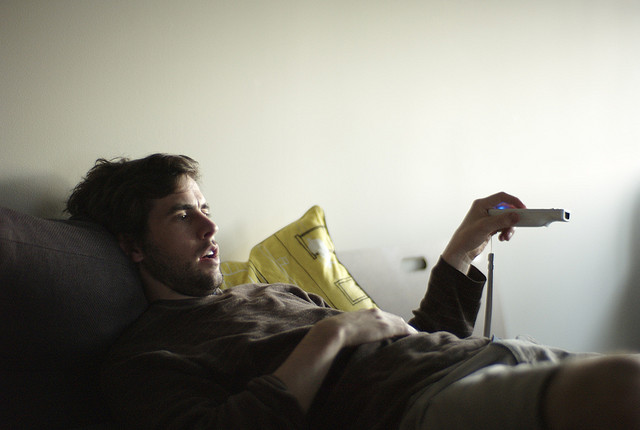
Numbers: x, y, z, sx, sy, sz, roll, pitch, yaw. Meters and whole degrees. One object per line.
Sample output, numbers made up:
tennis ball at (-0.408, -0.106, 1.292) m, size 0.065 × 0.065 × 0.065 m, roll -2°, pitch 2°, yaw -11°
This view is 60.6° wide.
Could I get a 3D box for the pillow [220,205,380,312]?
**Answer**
pillow at (-0.060, 0.315, 2.623) m, size 0.681 × 0.176 × 0.714 m, roll 0°, pitch -28°, yaw 38°
